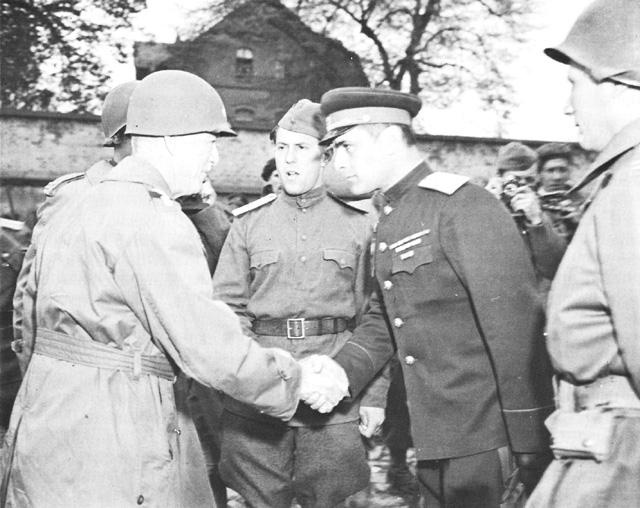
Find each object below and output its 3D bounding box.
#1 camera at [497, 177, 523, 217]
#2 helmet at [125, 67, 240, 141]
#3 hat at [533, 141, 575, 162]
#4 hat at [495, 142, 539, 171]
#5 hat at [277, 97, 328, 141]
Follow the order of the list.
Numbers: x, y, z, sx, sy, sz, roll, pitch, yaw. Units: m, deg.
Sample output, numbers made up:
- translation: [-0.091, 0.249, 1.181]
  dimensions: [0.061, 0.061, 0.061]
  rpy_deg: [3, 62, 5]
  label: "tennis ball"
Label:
- translation: [1.378, -0.392, 10.592]
  dimensions: [0.098, 0.253, 0.288]
  rpy_deg: [10, 3, -23]
  label: "camera"
- translation: [-0.785, -0.898, 8.920]
  dimensions: [0.762, 0.321, 0.496]
  rpy_deg: [3, 14, 16]
  label: "helmet"
- translation: [1.780, -0.756, 11.509]
  dimensions: [0.322, 0.118, 0.342]
  rpy_deg: [1, 5, 13]
  label: "hat"
- translation: [1.458, -0.695, 11.193]
  dimensions: [0.306, 0.211, 0.210]
  rpy_deg: [13, 13, 19]
  label: "hat"
- translation: [-0.091, -0.857, 9.927]
  dimensions: [0.269, 0.151, 0.325]
  rpy_deg: [7, 13, 6]
  label: "hat"
